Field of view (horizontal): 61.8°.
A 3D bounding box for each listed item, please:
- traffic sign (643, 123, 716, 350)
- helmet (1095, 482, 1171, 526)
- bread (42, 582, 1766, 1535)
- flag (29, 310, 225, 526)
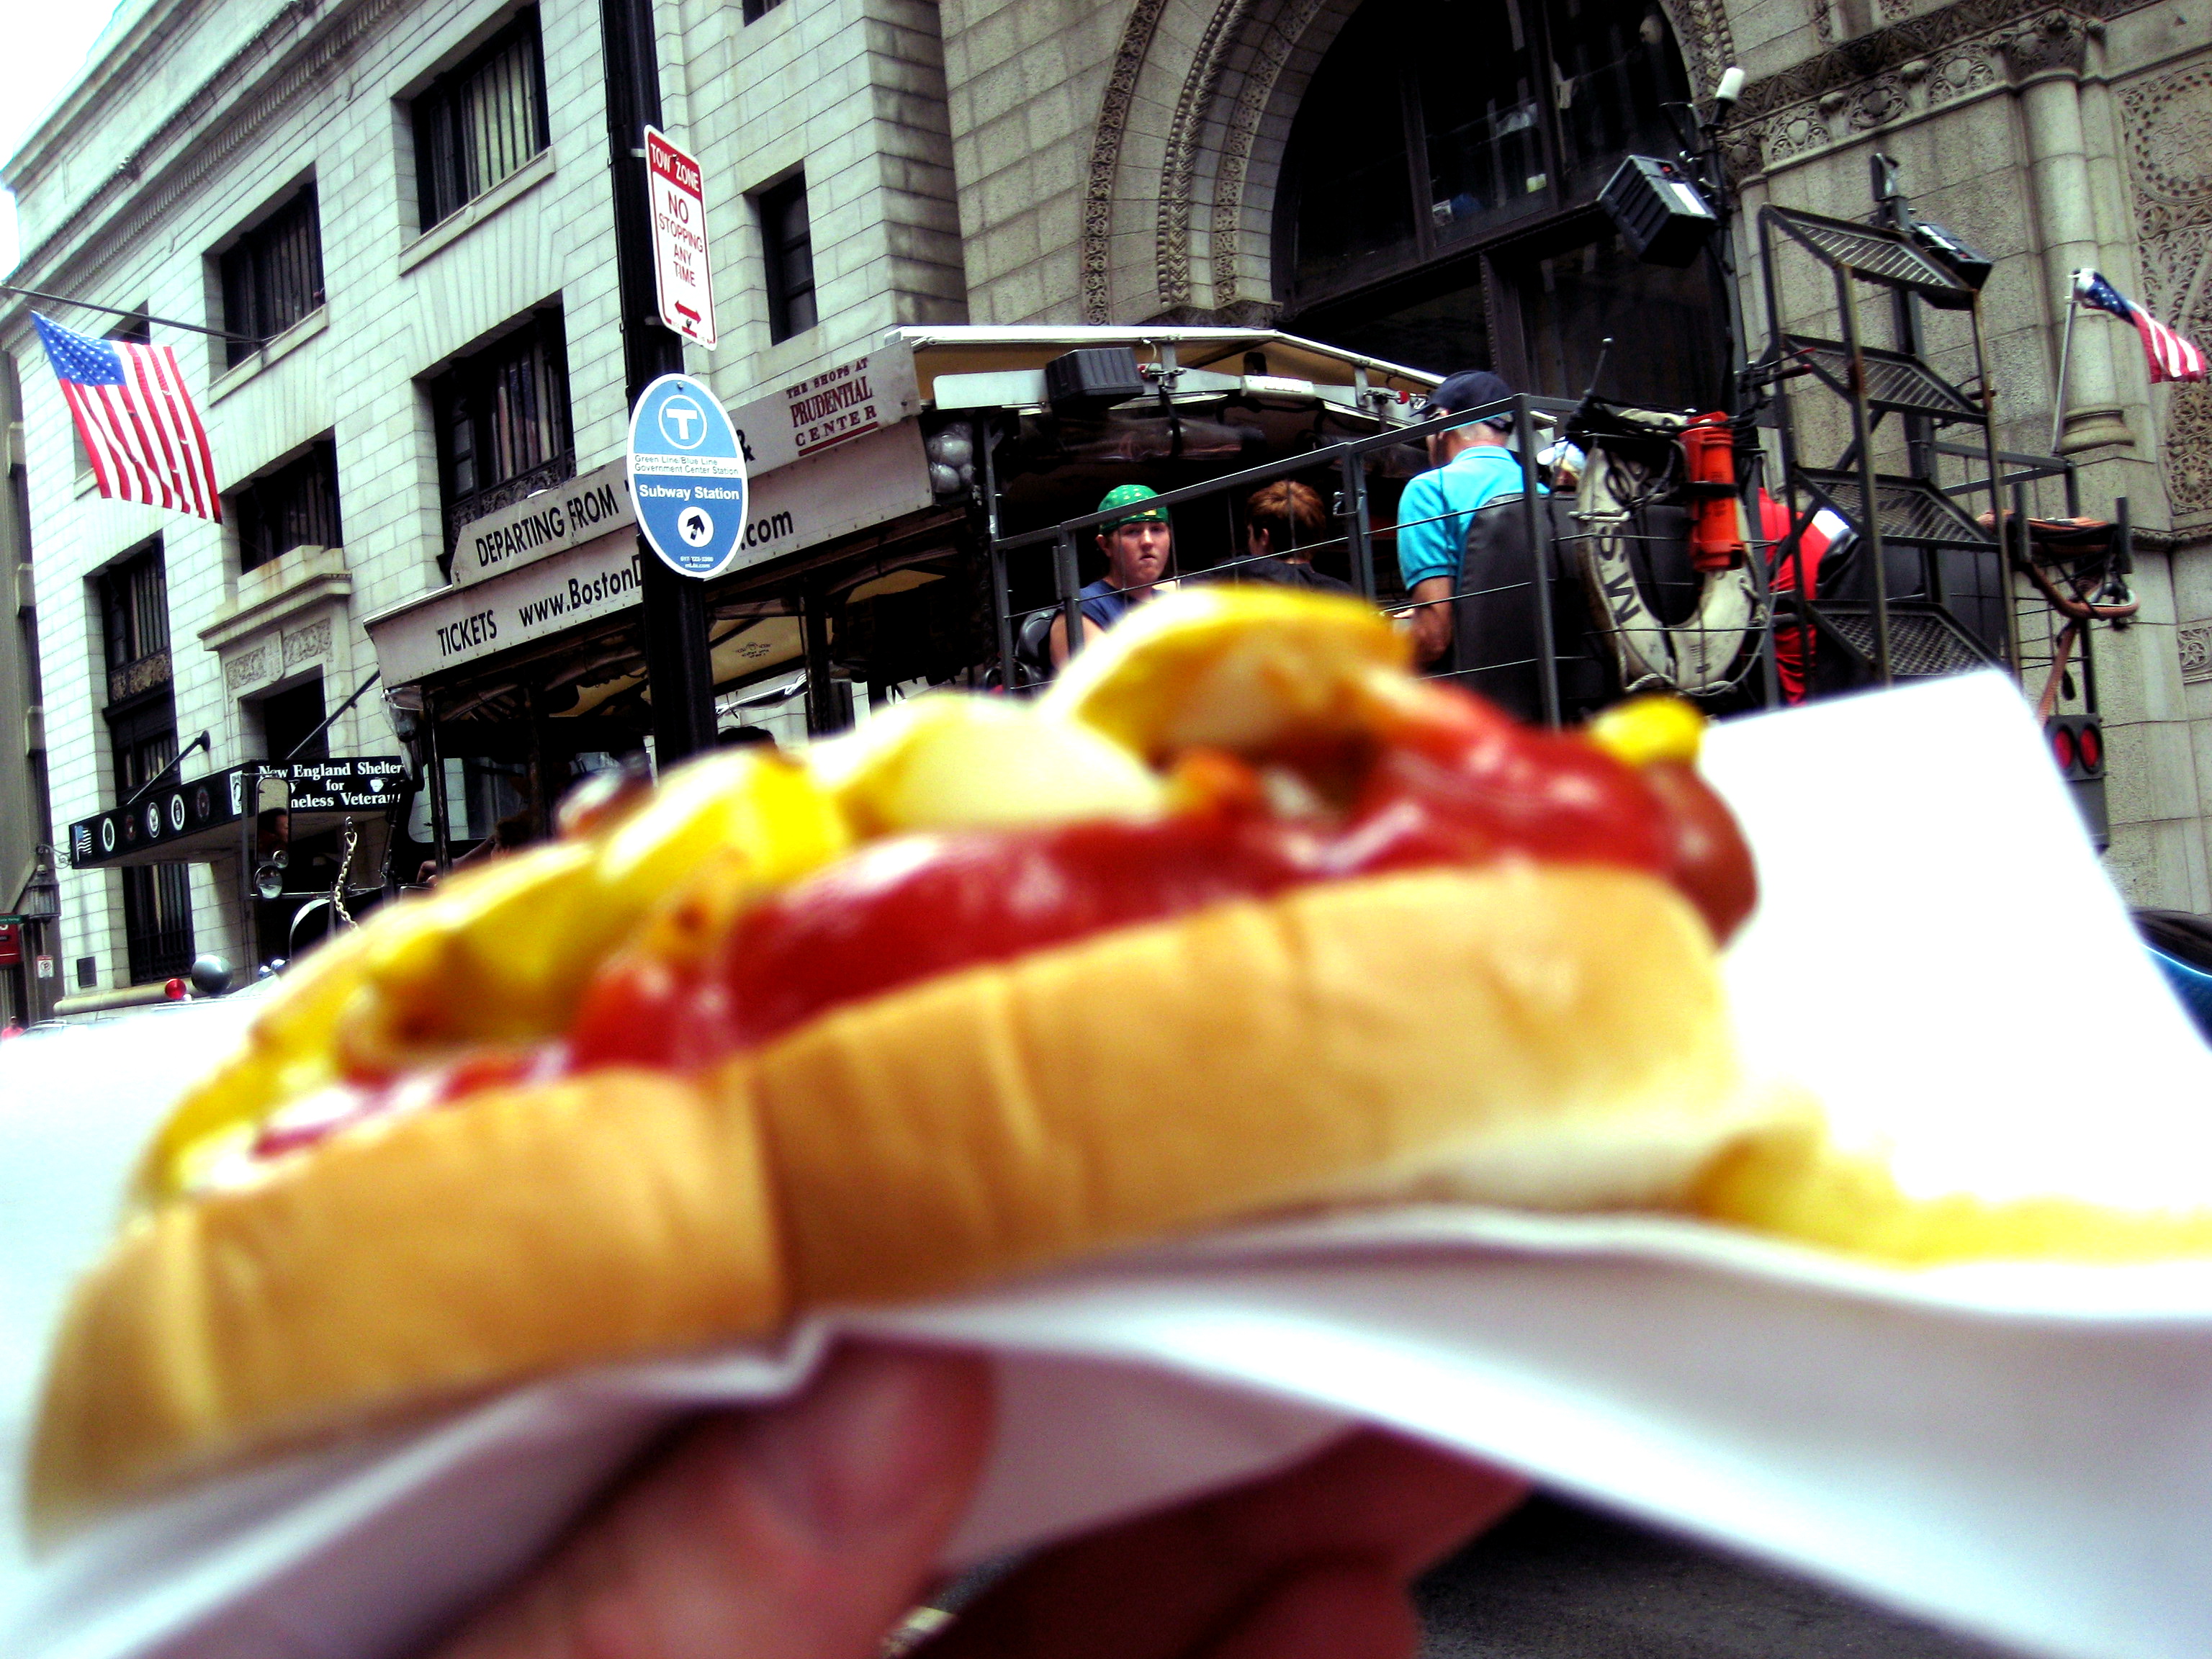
[{"bbox_3d":[-1.489,-2.062,6.460,0.205,0.541,0.580,-11,8,-7],"label":"traffic sign"},{"bbox_3d":[0.073,-0.967,5.407,0.146,0.122,0.233,-6,2,-5],"label":"helmet"},{"bbox_3d":[-0.095,0.087,0.713,0.480,0.192,0.360,-12,-11,-9],"label":"bread"},{"bbox_3d":[-8.241,-3.428,15.787,0.946,1.551,1.343,-15,9,-27],"label":"flag"}]
